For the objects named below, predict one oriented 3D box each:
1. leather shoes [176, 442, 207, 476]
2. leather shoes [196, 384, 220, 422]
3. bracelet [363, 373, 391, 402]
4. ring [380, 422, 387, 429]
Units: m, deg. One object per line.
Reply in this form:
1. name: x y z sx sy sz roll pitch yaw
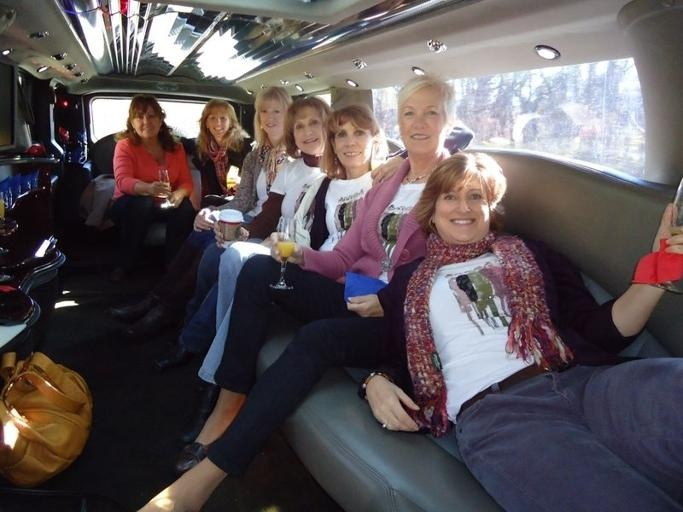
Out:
1. leather shoes: -0.654 0.924 1.887 0.116 0.197 0.069 -48 61 -1
2. leather shoes: -0.687 0.756 2.079 0.059 0.072 0.284 18 16 -14
3. bracelet: 0.120 0.486 1.562 0.081 0.098 0.037 16 0 15
4. ring: 0.150 0.600 1.460 0.016 0.022 0.007 -3 57 44
